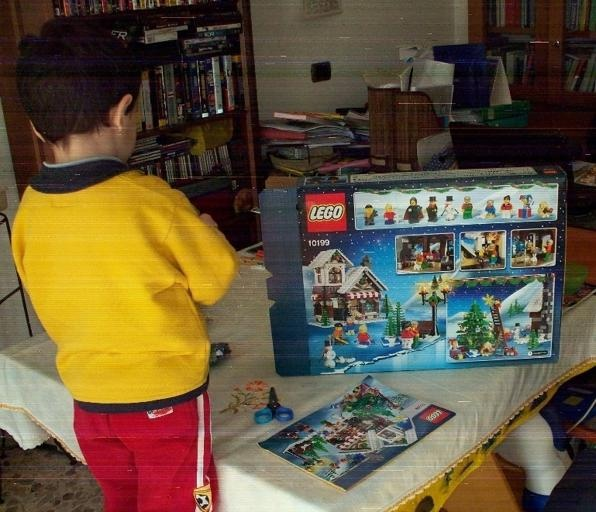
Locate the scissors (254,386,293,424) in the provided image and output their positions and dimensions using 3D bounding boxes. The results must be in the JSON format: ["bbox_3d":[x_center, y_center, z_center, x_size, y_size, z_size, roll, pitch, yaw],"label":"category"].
[{"bbox_3d":[-0.037,0.231,0.928,0.052,0.007,0.062,-1,16,-1],"label":"scissors"}]
